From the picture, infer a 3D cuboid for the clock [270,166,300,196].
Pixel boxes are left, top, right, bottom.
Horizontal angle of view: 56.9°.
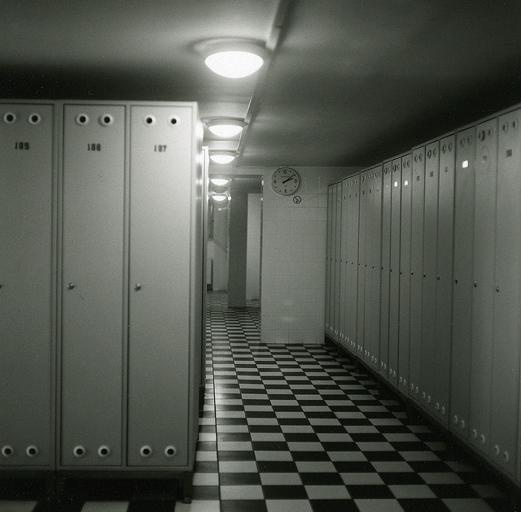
[{"bbox_3d":[0.402,-1.253,8.084,0.418,0.497,0.459,2,12,6],"label":"clock"}]
